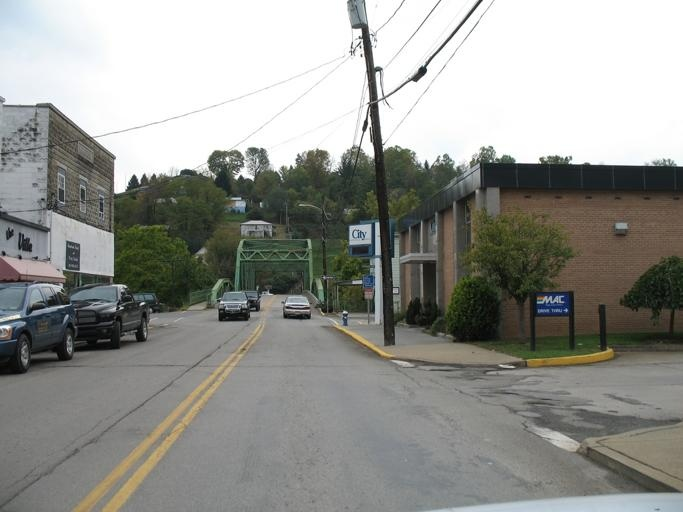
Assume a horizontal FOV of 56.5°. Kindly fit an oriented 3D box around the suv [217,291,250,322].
[{"bbox_3d":[-7.273,3.415,42.754,1.946,1.814,2.466,0,-2,-14],"label":"suv"}]

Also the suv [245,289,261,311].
[{"bbox_3d":[-8.804,4.399,62.780,1.221,1.504,2.910,-1,-8,-2],"label":"suv"}]
